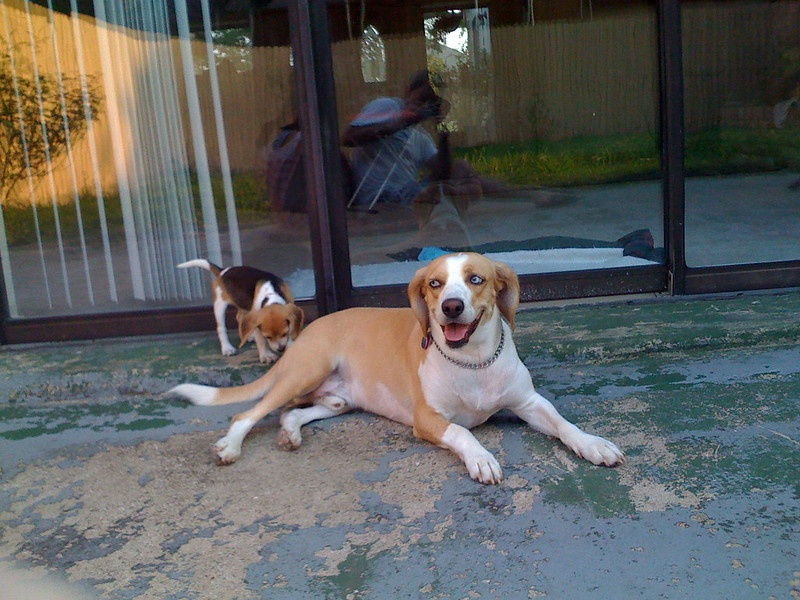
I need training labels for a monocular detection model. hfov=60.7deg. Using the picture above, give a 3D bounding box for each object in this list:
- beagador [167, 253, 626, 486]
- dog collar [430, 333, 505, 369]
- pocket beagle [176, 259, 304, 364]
[{"bbox_3d":[-0.124,0.456,3.293,1.855,1.157,1.310,-15,18,-34],"label":"beagador"},{"bbox_3d":[0.320,0.243,3.165,0.335,0.133,0.123,-6,14,4],"label":"dog collar"},{"bbox_3d":[-1.107,0.056,4.782,0.448,0.578,1.271,-20,31,-36],"label":"pocket beagle"}]
